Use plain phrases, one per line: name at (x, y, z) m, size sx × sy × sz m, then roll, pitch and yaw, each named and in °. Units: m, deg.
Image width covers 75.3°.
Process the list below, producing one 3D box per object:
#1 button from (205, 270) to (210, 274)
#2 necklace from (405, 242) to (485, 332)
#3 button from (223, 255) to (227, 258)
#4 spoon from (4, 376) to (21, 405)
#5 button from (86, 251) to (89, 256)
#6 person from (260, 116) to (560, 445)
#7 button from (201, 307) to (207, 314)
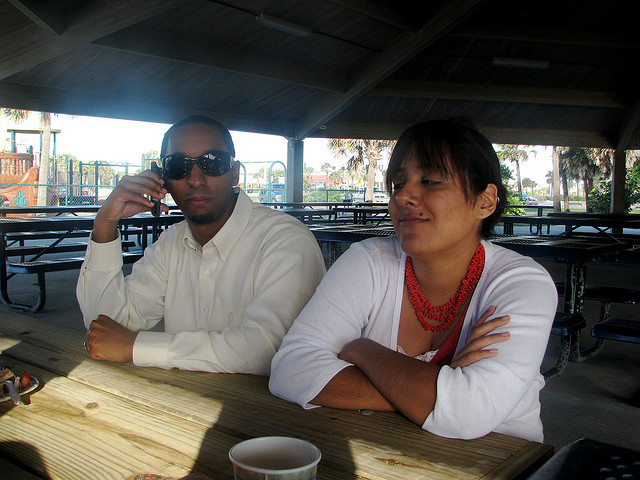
button at (-0.489, 0.135, 1.804) m, size 0.019 × 0.016 × 0.005 m, roll -1°, pitch 5°, yaw -6°
necklace at (0.451, 0.167, 1.504) m, size 0.274 × 0.315 × 0.108 m, roll 2°, pitch 5°, yaw 20°
button at (-0.415, 0.067, 1.813) m, size 0.015 × 0.010 × 0.015 m, roll 0°, pitch -3°, yaw 14°
spoon at (-0.801, 0.393, 1.077) m, size 0.017 × 0.062 × 0.017 m, roll -32°, pitch -22°, yaw -9°
button at (-1.047, 0.056, 1.868) m, size 0.006 × 0.020 × 0.034 m, roll -5°, pitch 7°, yaw -43°
person at (0.391, 0.170, 1.505) m, size 0.794 × 1.103 × 0.898 m, roll 0°, pitch 0°, yaw -42°
button at (-0.501, 0.301, 1.798) m, size 0.031 × 0.027 × 0.007 m, roll 0°, pitch -2°, yaw 1°
